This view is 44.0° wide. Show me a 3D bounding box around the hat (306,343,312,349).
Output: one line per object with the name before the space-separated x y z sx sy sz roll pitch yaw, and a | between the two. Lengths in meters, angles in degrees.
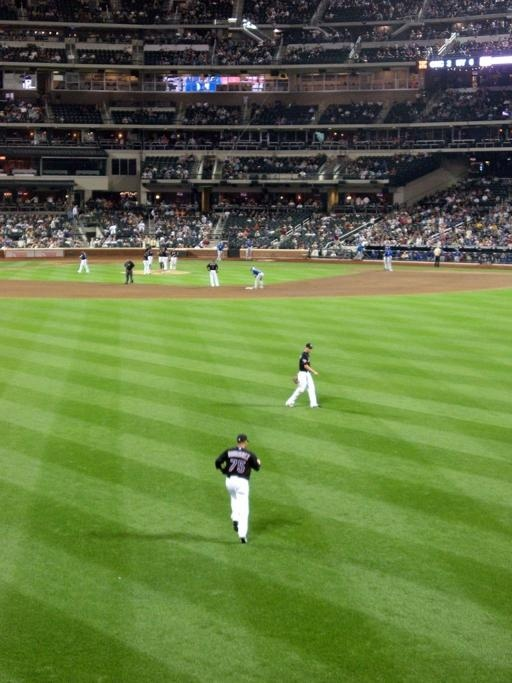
hat | 1.154 0.092 13.630 0.130 0.104 0.165 1 -2 -8

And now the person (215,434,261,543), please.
person | -0.219 1.833 8.056 0.503 1.403 0.767 0 11 0
